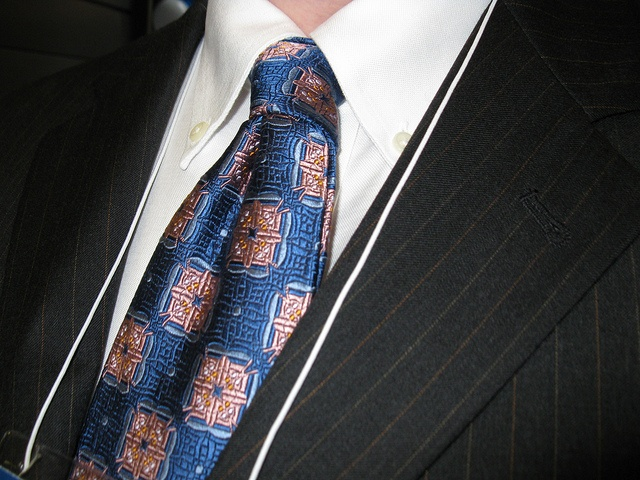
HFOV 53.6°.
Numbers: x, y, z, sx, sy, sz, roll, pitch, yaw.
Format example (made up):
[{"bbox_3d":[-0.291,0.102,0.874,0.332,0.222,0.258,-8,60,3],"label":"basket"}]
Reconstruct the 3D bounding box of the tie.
[{"bbox_3d":[-0.135,0.062,0.839,0.187,0.850,0.034,5,-15,26],"label":"tie"}]
